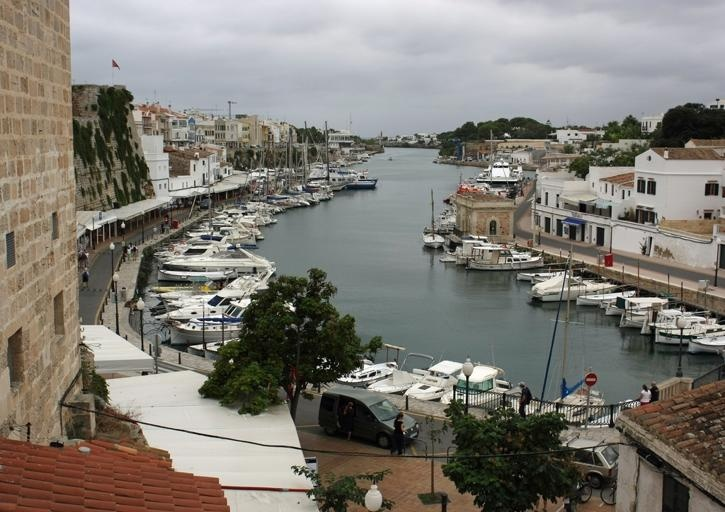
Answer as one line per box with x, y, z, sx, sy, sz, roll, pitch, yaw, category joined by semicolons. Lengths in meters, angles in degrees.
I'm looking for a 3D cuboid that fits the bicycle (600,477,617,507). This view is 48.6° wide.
6.411;6.135;20.940;0.357;0.448;0.703;4;12;15;bicycle

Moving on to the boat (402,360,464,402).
3.015;5.121;32.711;1.095;0.881;3.718;-1;6;24;boat

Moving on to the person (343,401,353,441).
-0.382;4.997;24.312;0.314;1.104;0.532;-3;12;-17;person

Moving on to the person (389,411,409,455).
1.059;5.210;23.453;0.397;1.033;1.035;1;12;2;person

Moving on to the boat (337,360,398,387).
0.242;5.053;34.231;1.171;0.855;3.258;3;3;35;boat

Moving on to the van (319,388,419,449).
0.186;4.879;24.501;2.637;1.159;1.516;1;4;26;van

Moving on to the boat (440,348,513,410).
4.522;4.750;31.011;2.130;1.396;3.932;10;18;37;boat
